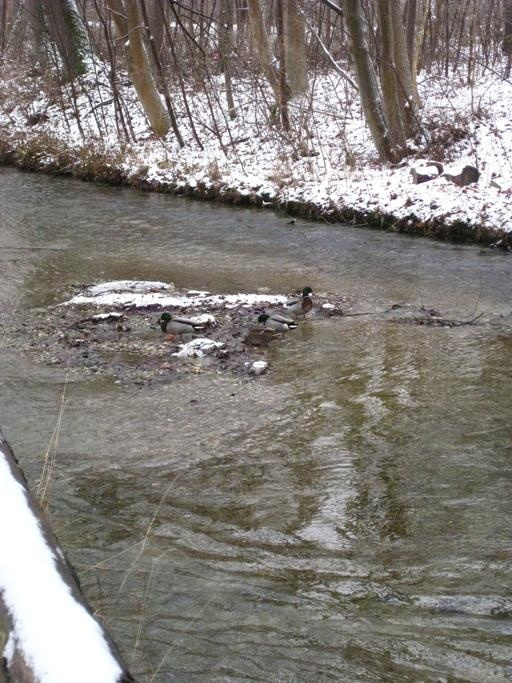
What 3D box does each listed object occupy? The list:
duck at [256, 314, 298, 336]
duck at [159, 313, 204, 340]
[{"bbox_3d":[0.235,-0.251,11.467,0.213,0.237,0.631,-6,9,-34],"label":"duck"},{"bbox_3d":[-1.000,-0.204,11.108,0.593,0.274,0.260,3,-3,10],"label":"duck"}]
